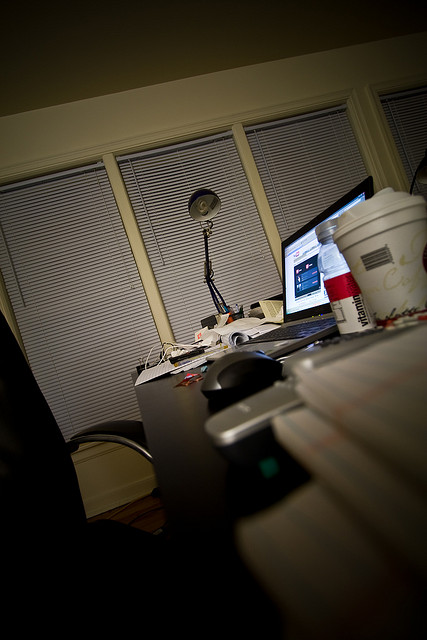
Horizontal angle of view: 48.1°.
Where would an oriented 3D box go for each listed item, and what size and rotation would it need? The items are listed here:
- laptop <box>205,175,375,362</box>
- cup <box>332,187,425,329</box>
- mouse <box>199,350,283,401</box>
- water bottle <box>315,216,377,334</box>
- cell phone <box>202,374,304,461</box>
[{"bbox_3d":[0.125,-0.080,1.032,0.338,0.266,0.449,-14,-2,-23],"label":"laptop"},{"bbox_3d":[0.164,-0.056,0.443,0.087,0.113,0.038,-20,5,26],"label":"cup"},{"bbox_3d":[0.030,0.046,0.520,0.087,0.031,0.047,-16,21,-32],"label":"mouse"},{"bbox_3d":[0.146,-0.045,0.555,0.049,0.134,0.043,-23,11,-36],"label":"water bottle"},{"bbox_3d":[0.041,0.065,0.362,0.099,0.023,0.044,-30,21,-35],"label":"cell phone"}]
